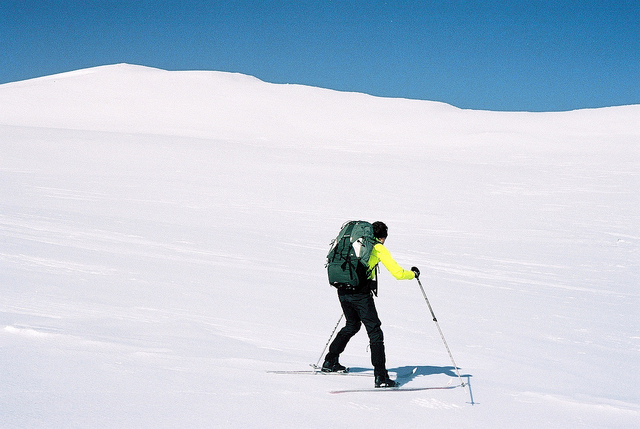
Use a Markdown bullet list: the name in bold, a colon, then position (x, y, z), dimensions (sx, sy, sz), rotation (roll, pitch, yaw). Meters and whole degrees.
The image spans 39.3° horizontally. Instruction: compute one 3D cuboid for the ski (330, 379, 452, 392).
- **ski**: position (1.317, 2.991, 15.659), dimensions (2.267, 0.142, 0.236), rotation (5, -2, -19)
